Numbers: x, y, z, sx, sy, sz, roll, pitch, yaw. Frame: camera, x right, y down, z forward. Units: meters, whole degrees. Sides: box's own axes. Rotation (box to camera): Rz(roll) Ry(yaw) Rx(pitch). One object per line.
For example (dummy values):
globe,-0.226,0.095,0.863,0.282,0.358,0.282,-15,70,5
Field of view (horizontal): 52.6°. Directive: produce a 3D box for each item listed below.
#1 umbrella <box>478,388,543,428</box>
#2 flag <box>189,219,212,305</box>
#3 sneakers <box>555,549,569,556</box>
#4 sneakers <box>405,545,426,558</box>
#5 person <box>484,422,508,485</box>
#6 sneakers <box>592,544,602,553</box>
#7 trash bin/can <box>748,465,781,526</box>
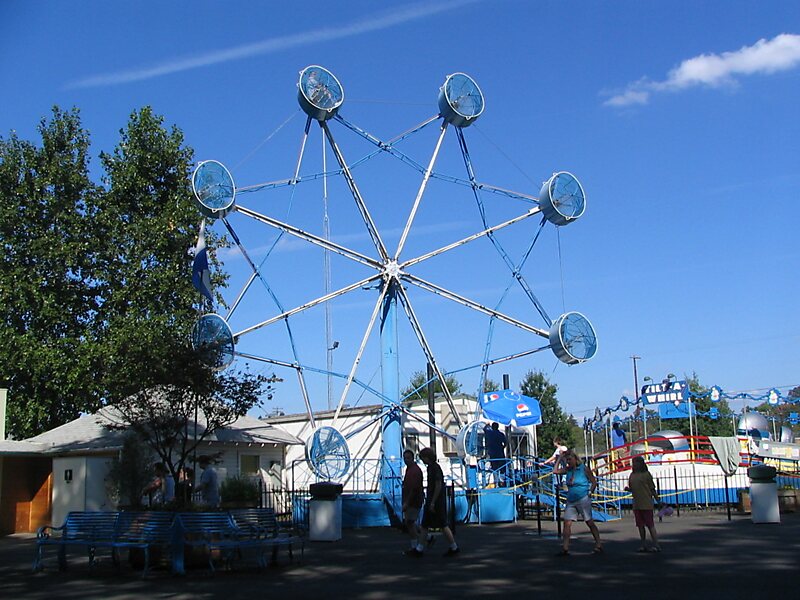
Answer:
umbrella,3.889,3.810,28.504,1.847,0.845,1.988,15,8,-8
flag,-6.563,-1.626,27.224,0.308,3.382,0.680,2,1,28
sneakers,3.548,5.511,17.673,0.244,0.140,0.271,-11,-19,13
sneakers,0.352,5.675,18.237,0.439,0.219,0.185,6,-23,14
person,3.479,5.499,29.358,0.704,2.270,1.519,-7,-18,6
sneakers,4.345,5.445,17.737,0.193,0.189,0.362,-10,-19,11
trash bin/can,10.473,5.580,23.349,0.876,1.671,0.516,-14,-19,24
